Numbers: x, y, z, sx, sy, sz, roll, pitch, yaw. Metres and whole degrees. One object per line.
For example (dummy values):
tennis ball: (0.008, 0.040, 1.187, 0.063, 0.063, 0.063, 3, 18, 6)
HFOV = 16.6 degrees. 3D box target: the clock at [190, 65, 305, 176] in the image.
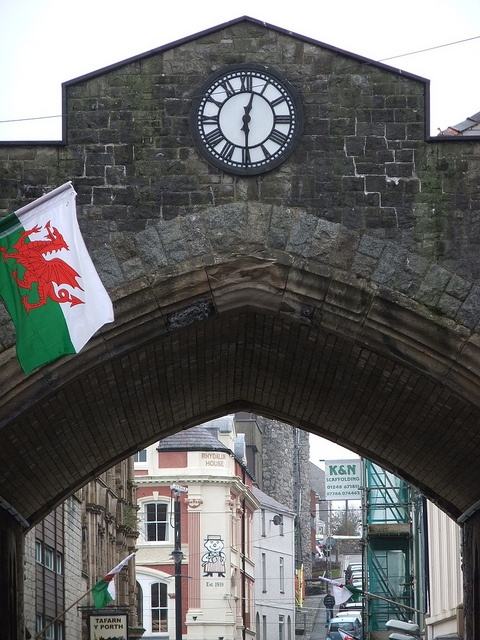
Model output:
clock: (0.074, -2.536, 21.484, 1.216, 1.458, 0.092, 0, -5, -1)

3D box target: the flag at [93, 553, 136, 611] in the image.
flag: (-2.599, 5.066, 32.628, 0.549, 0.223, 1.699, 22, -65, -5)
